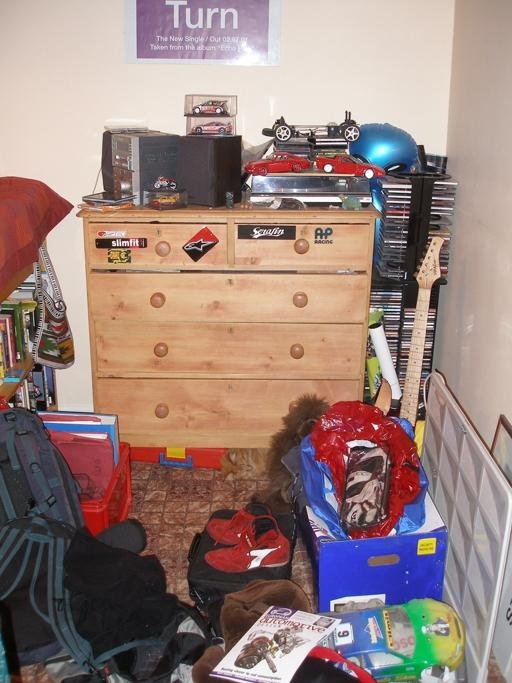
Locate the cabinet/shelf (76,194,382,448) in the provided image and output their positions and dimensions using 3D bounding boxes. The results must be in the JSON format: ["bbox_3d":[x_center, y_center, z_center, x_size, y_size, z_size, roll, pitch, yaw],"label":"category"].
[{"bbox_3d":[-0.092,-0.113,2.276,1.105,0.951,0.455,0,22,1],"label":"cabinet/shelf"}]

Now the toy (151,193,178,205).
[{"bbox_3d":[-0.362,-0.575,2.174,0.111,0.050,0.057,1,21,8],"label":"toy"}]

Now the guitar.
[{"bbox_3d":[0.631,-0.037,2.382,0.272,0.837,0.451,6,22,19],"label":"guitar"}]

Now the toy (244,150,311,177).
[{"bbox_3d":[0.093,-0.749,2.267,0.276,0.083,0.139,-1,20,2],"label":"toy"}]

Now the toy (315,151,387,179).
[{"bbox_3d":[0.371,-0.727,2.222,0.208,0.061,0.125,1,37,1],"label":"toy"}]

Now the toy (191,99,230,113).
[{"bbox_3d":[-0.191,-1.014,2.327,0.106,0.046,0.071,7,53,-2],"label":"toy"}]

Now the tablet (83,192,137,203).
[{"bbox_3d":[-0.608,-0.589,2.232,0.193,0.037,0.164,16,27,38],"label":"tablet"}]

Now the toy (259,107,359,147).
[{"bbox_3d":[0.217,-0.927,2.331,0.399,0.169,0.200,0,28,0],"label":"toy"}]

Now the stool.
[{"bbox_3d":[-0.584,0.573,2.080,0.361,0.259,0.355,-1,36,-3],"label":"stool"}]
